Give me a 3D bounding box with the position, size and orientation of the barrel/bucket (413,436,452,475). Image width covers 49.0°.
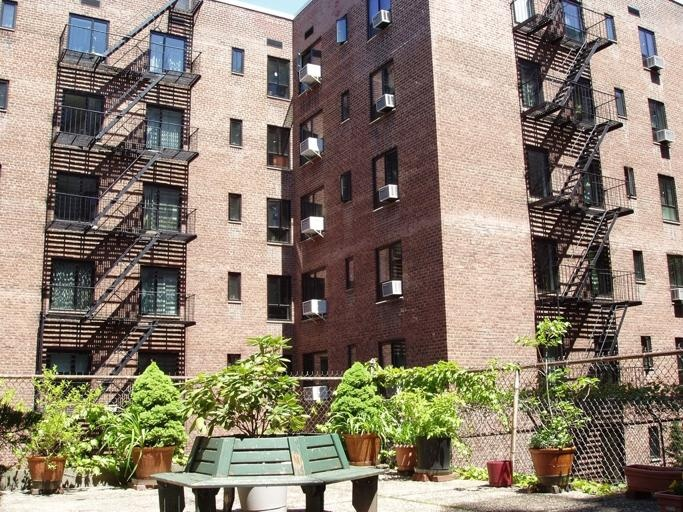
[{"bbox_3d":[2.524,5.461,20.556,0.988,0.692,0.990,-1,-13,0],"label":"barrel/bucket"}]

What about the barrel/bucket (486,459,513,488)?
[{"bbox_3d":[4.123,5.627,19.484,0.662,0.640,0.642,-1,-19,0],"label":"barrel/bucket"}]
